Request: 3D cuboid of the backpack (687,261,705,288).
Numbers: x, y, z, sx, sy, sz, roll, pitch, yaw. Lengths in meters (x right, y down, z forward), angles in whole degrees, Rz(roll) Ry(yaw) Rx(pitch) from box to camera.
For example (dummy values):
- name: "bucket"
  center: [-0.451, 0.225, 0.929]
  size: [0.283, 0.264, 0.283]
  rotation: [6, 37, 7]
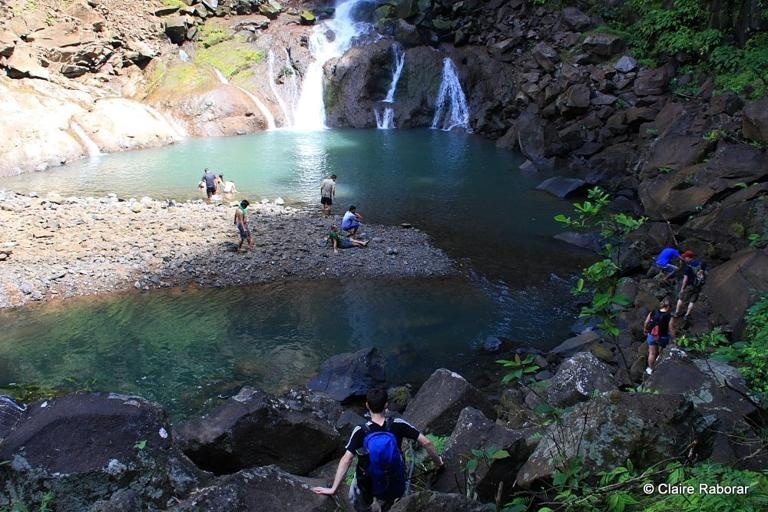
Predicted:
- name: "backpack"
  center: [9.827, 0.582, 16.407]
  size: [0.510, 0.858, 0.465]
  rotation: [10, 24, 24]

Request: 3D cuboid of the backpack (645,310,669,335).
- name: "backpack"
  center: [7.817, 1.932, 14.870]
  size: [0.670, 0.737, 0.492]
  rotation: [15, 15, 20]

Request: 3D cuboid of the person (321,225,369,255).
- name: "person"
  center: [-1.504, -0.708, 22.028]
  size: [1.715, 0.883, 1.092]
  rotation: [-2, 48, -11]

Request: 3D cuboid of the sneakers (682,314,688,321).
- name: "sneakers"
  center: [9.519, 1.948, 16.394]
  size: [0.094, 0.195, 0.208]
  rotation: [-6, -12, -16]
